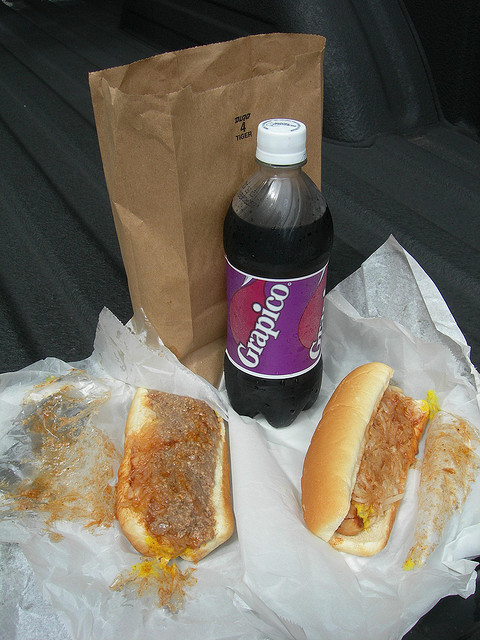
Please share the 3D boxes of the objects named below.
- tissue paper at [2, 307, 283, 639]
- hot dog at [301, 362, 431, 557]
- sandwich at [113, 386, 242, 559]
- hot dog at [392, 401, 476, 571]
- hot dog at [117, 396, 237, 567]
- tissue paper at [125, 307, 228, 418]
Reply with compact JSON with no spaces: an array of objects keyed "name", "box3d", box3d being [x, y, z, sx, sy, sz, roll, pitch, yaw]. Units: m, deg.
[{"name":"tissue paper","box3d":[-0.171,0.222,0.738,0.293,0.170,0.490,-14,50,-14]},{"name":"hot dog","box3d":[0.191,0.201,0.850,0.176,0.120,0.332,18,43,16]},{"name":"sandwich","box3d":[-0.104,0.225,0.807,0.159,0.072,0.277,13,37,-16]},{"name":"hot dog","box3d":[0.275,0.239,0.765,0.081,0.067,0.259,4,47,23]},{"name":"hot dog","box3d":[-0.103,0.228,0.813,0.152,0.079,0.275,12,36,-14]},{"name":"tissue paper","box3d":[-0.111,0.069,0.891,0.072,0.273,0.067,-32,16,11]}]
